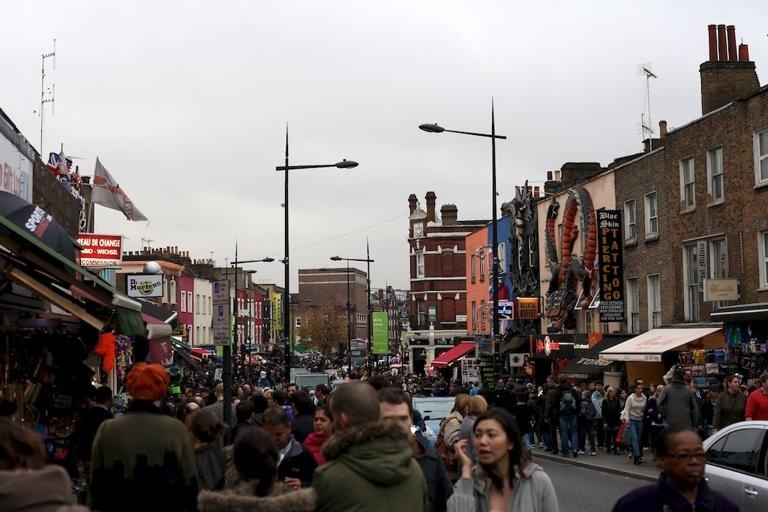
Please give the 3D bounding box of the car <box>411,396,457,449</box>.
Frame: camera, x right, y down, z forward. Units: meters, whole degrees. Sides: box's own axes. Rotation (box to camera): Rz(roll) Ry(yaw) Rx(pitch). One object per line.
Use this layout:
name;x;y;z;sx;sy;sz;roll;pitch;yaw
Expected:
car;1.181;3.827;27.284;1.121;0.973;1.919;-1;-10;-2

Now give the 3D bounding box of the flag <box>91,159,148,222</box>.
flag;-8.647;-2.055;37.471;1.277;1.696;0.451;7;-15;-27

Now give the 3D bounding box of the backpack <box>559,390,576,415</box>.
backpack;4.799;3.912;30.972;0.448;0.624;0.602;0;-20;3

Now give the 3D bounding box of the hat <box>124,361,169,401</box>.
hat;-3.383;1.797;16.762;0.462;0.531;0.550;-1;2;-4
